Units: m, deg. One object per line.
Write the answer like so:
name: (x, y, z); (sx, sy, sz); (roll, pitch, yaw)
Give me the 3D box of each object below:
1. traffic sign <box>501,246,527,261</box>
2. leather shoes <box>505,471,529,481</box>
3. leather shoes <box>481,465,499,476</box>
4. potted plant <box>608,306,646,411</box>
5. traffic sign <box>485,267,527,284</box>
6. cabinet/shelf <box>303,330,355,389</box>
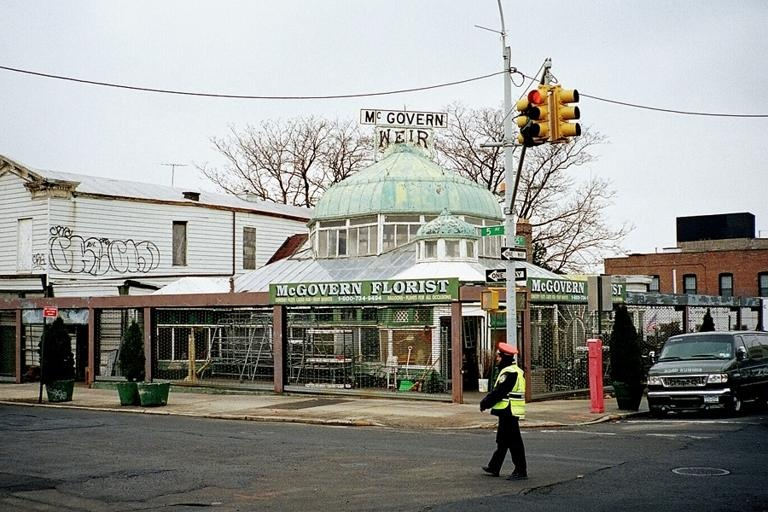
traffic sign: (4.236, -0.060, 34.794); (0.814, 0.413, 0.640); (0, -9, -7)
leather shoes: (3.354, 5.514, 26.725); (0.500, 0.217, 0.202); (3, -10, -1)
leather shoes: (2.698, 5.437, 27.009); (0.479, 0.222, 0.178); (12, 5, 40)
potted plant: (8.382, 3.491, 36.847); (1.064, 3.670, 0.860); (-2, -9, 2)
traffic sign: (4.010, 0.619, 35.236); (1.544, 0.443, 0.851); (-8, -11, 33)
cabinet/shelf: (-2.121, 4.053, 41.839); (2.047, 2.025, 0.808); (-5, -10, 35)
